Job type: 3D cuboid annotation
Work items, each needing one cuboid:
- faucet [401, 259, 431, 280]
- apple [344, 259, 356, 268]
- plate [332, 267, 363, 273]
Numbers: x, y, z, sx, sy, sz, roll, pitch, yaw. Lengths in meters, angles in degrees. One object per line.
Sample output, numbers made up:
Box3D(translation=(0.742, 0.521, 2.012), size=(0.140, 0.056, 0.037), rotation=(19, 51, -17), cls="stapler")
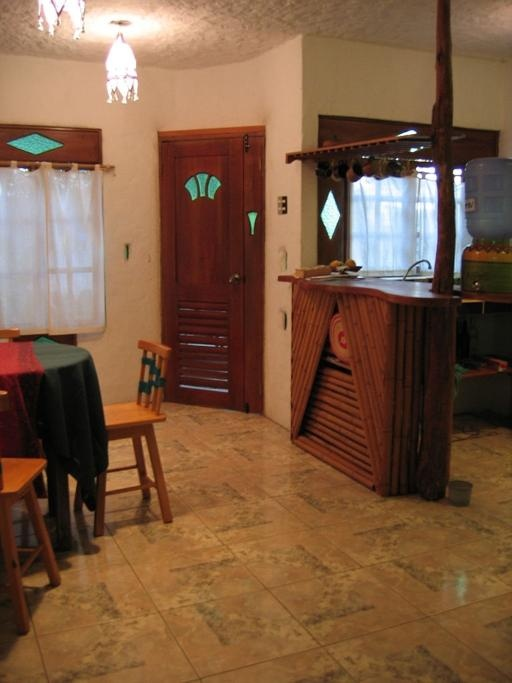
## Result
Box3D(translation=(1.219, -0.557, 4.003), size=(0.183, 0.170, 0.679), rotation=(1, 3, 18), cls="faucet")
Box3D(translation=(0.640, -0.521, 3.572), size=(0.063, 0.064, 0.173), rotation=(1, 3, 19), cls="apple")
Box3D(translation=(0.601, -0.471, 3.506), size=(0.172, 0.056, 0.111), rotation=(0, 3, 3), cls="plate")
